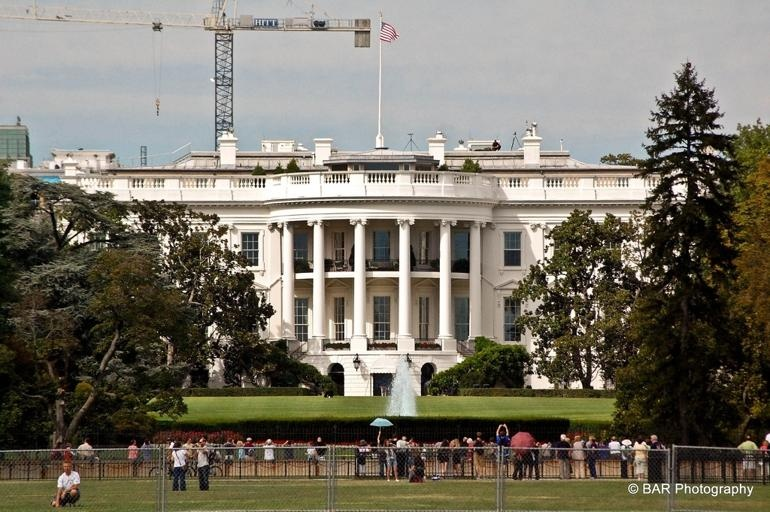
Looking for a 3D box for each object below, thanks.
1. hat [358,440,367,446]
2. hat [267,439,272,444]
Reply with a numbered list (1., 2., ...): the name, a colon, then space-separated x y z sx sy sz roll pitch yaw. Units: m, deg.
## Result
1. hat: -0.979 7.684 86.063 0.312 0.181 0.308 0 -7 1
2. hat: -4.868 7.720 87.111 0.174 0.195 0.219 2 12 -4
